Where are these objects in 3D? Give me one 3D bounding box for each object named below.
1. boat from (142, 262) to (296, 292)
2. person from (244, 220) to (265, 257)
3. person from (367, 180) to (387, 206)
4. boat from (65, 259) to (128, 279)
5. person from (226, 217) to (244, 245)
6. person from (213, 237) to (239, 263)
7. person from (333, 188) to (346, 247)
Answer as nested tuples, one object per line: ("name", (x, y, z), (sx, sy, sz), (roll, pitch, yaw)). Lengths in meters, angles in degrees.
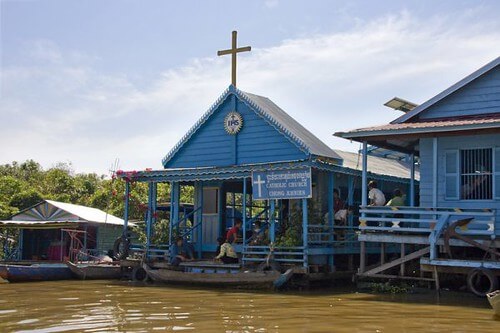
("boat", (-2.139, 4.370, 23.836), (8.378, 1.281, 1.879), (-4, -14, 23))
("person", (0.258, 2.967, 24.407), (0.799, 1.466, 0.709), (-1, -2, 20))
("person", (5.129, 1.064, 23.968), (0.582, 1.121, 1.071), (-1, -10, 11))
("boat", (-7.116, 4.789, 27.238), (2.483, 0.708, 1.165), (3, -13, -1))
("person", (-0.594, 2.810, 25.675), (0.775, 1.135, 0.914), (11, 7, 27))
("person", (-1.112, 3.482, 24.319), (1.035, 1.197, 0.982), (10, -12, -31))
("person", (3.813, 2.024, 25.519), (0.734, 2.028, 0.609), (-6, 14, 6))
